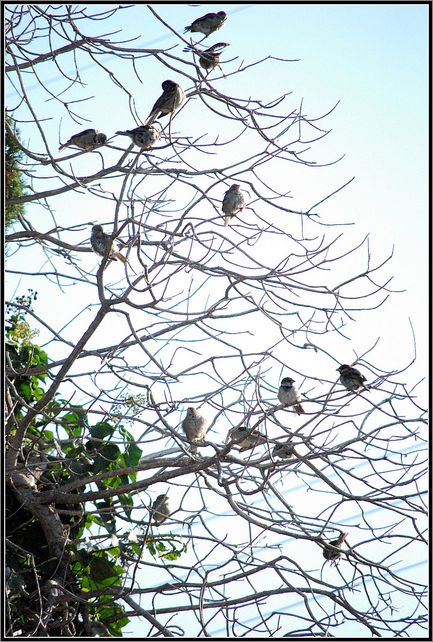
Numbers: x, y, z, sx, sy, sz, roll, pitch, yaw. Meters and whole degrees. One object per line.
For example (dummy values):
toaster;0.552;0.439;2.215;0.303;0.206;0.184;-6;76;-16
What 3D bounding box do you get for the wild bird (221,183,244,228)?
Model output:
wild bird;0.106;-0.693;7.787;0.135;0.345;0.183;12;-56;-10
